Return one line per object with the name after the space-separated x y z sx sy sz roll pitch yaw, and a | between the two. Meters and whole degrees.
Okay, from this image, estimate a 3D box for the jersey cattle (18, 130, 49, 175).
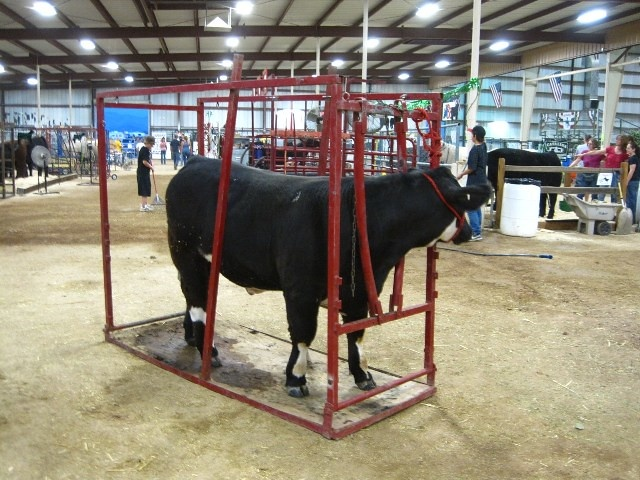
-11.082 -3.200 18.651 0.710 1.329 2.638 -5 -2 -33 | jersey cattle

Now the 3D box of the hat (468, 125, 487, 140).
2.774 -1.893 8.731 0.203 0.252 0.492 5 13 15 | hat

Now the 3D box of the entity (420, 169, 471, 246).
0.833 -0.224 3.363 0.274 0.433 0.336 6 24 -41 | entity

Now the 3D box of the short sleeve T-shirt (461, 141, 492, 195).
2.743 -1.276 8.809 0.243 0.681 0.372 13 24 34 | short sleeve T-shirt

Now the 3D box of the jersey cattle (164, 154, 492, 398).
-0.075 0.295 3.749 2.802 1.554 0.835 5 2 33 | jersey cattle
